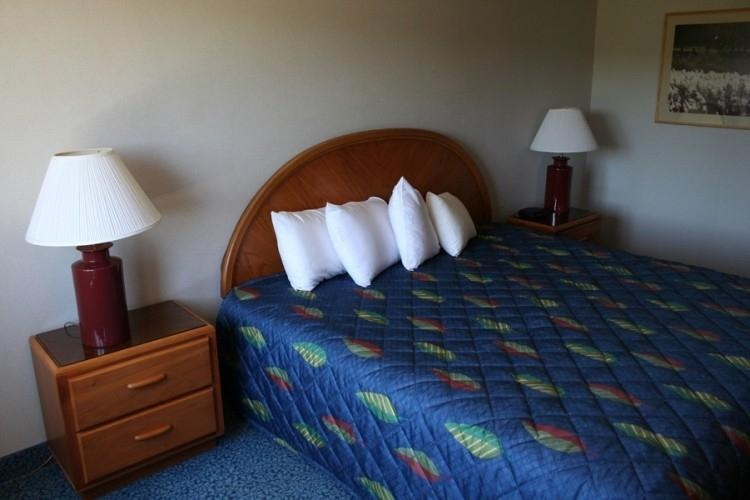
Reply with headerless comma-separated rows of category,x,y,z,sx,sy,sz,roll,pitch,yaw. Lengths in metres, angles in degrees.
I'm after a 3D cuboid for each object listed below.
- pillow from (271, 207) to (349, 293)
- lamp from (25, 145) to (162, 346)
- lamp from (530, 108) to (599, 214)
pillow,-0.384,0.005,3.350,0.242,0.366,0.443,15,23,37
lamp,-1.431,0.000,2.816,0.618,0.998,0.295,-9,18,-28
lamp,1.586,-0.928,4.546,0.453,0.673,0.444,2,19,8
